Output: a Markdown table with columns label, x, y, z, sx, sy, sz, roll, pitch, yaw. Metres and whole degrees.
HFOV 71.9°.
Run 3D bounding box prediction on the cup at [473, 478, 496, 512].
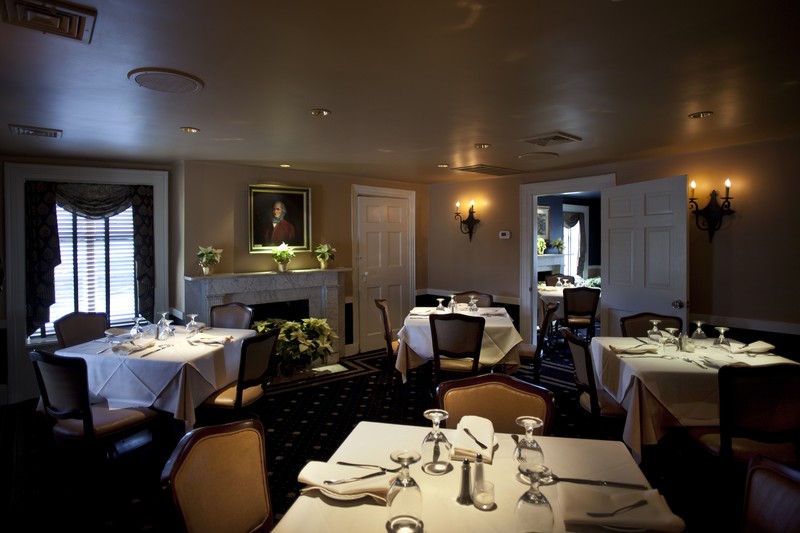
| label | x | y | z | sx | sy | sz | roll | pitch | yaw |
| --- | --- | --- | --- | --- | --- | --- | --- | --- | --- |
| cup | 0.470 | 1.310 | 3.161 | 0.145 | 0.150 | 0.150 | 0 | -4 | 0 |

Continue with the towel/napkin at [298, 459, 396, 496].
| label | x | y | z | sx | sy | sz | roll | pitch | yaw |
| --- | --- | --- | --- | --- | --- | --- | --- | --- | --- |
| towel/napkin | -0.327 | 1.254 | 3.251 | 0.395 | 0.073 | 0.236 | 3 | 5 | 12 |

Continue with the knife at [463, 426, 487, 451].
| label | x | y | z | sx | sy | sz | roll | pitch | yaw |
| --- | --- | --- | --- | --- | --- | --- | --- | --- | --- |
| knife | 0.464 | 1.071 | 3.405 | 0.055 | 0.028 | 0.193 | 10 | 5 | -28 |

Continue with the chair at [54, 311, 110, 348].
| label | x | y | z | sx | sy | sz | roll | pitch | yaw |
| --- | --- | --- | --- | --- | --- | --- | --- | --- | --- |
| chair | -3.301 | 0.664 | 5.737 | 0.351 | 0.639 | 0.357 | 5 | 3 | 19 |

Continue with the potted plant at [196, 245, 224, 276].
| label | x | y | z | sx | sy | sz | roll | pitch | yaw |
| --- | --- | --- | --- | --- | --- | --- | --- | --- | --- |
| potted plant | -2.315 | -0.081 | 6.702 | 0.295 | 0.351 | 0.306 | -1 | 3 | -21 |

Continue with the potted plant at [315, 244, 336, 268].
| label | x | y | z | sx | sy | sz | roll | pitch | yaw |
| --- | --- | --- | --- | --- | --- | --- | --- | --- | --- |
| potted plant | -1.007 | -0.129 | 7.676 | 0.301 | 0.321 | 0.312 | -2 | -4 | 16 |

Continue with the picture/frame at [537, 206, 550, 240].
| label | x | y | z | sx | sy | sz | roll | pitch | yaw |
| --- | --- | --- | --- | --- | --- | --- | --- | --- | --- |
| picture/frame | 2.884 | -0.895 | 11.086 | 0.378 | 0.656 | 0.099 | -2 | 4 | -43 |

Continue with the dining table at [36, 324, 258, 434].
| label | x | y | z | sx | sy | sz | roll | pitch | yaw |
| --- | --- | --- | --- | --- | --- | --- | --- | --- | --- |
| dining table | -1.985 | 0.946 | 5.197 | 1.105 | 0.460 | 1.144 | 1 | 3 | 26 |

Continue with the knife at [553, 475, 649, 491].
| label | x | y | z | sx | sy | sz | roll | pitch | yaw |
| --- | --- | --- | --- | --- | --- | --- | --- | --- | --- |
| knife | 1.188 | 1.291 | 3.259 | 0.501 | 0.038 | 0.067 | 3 | 22 | 6 |

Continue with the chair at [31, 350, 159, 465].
| label | x | y | z | sx | sy | sz | roll | pitch | yaw |
| --- | --- | --- | --- | --- | --- | --- | --- | --- | --- |
| chair | -2.695 | 1.345 | 4.899 | 0.740 | 1.267 | 0.820 | 1 | 3 | 16 |

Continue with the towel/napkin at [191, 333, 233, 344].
| label | x | y | z | sx | sy | sz | roll | pitch | yaw |
| --- | --- | --- | --- | --- | --- | --- | --- | --- | --- |
| towel/napkin | -1.823 | 0.705 | 5.305 | 0.172 | 0.056 | 0.177 | 4 | 3 | 14 |

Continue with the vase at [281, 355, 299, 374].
| label | x | y | z | sx | sy | sz | roll | pitch | yaw |
| --- | --- | --- | --- | --- | --- | --- | --- | --- | --- |
| vase | -1.401 | 1.243 | 7.030 | 0.236 | 0.216 | 0.262 | -1 | -9 | 42 |

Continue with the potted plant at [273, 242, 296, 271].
| label | x | y | z | sx | sy | sz | roll | pitch | yaw |
| --- | --- | --- | --- | --- | --- | --- | --- | --- | --- |
| potted plant | -1.529 | -0.128 | 7.295 | 0.350 | 0.378 | 0.323 | 4 | -6 | -35 |

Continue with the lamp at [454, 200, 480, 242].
| label | x | y | z | sx | sy | sz | roll | pitch | yaw |
| --- | --- | --- | --- | --- | --- | --- | --- | --- | --- |
| lamp | 1.071 | -0.735 | 8.698 | 0.239 | 0.770 | 0.584 | 8 | -9 | -37 |

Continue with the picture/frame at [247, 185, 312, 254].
| label | x | y | z | sx | sy | sz | roll | pitch | yaw |
| --- | --- | --- | --- | --- | --- | --- | --- | --- | --- |
| picture/frame | -1.637 | -0.641 | 7.287 | 0.903 | 0.979 | 0.071 | 3 | -6 | -44 |

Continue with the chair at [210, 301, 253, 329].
| label | x | y | z | sx | sy | sz | roll | pitch | yaw |
| --- | --- | --- | --- | --- | --- | --- | --- | --- | --- |
| chair | -1.904 | 0.541 | 6.323 | 0.309 | 0.566 | 0.369 | 0 | -2 | 1 |

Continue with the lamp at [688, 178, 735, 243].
| label | x | y | z | sx | sy | sz | roll | pitch | yaw |
| --- | --- | --- | --- | --- | --- | --- | --- | --- | --- |
| lamp | 3.592 | -0.651 | 6.368 | 0.161 | 0.705 | 0.465 | -2 | 3 | -35 |
